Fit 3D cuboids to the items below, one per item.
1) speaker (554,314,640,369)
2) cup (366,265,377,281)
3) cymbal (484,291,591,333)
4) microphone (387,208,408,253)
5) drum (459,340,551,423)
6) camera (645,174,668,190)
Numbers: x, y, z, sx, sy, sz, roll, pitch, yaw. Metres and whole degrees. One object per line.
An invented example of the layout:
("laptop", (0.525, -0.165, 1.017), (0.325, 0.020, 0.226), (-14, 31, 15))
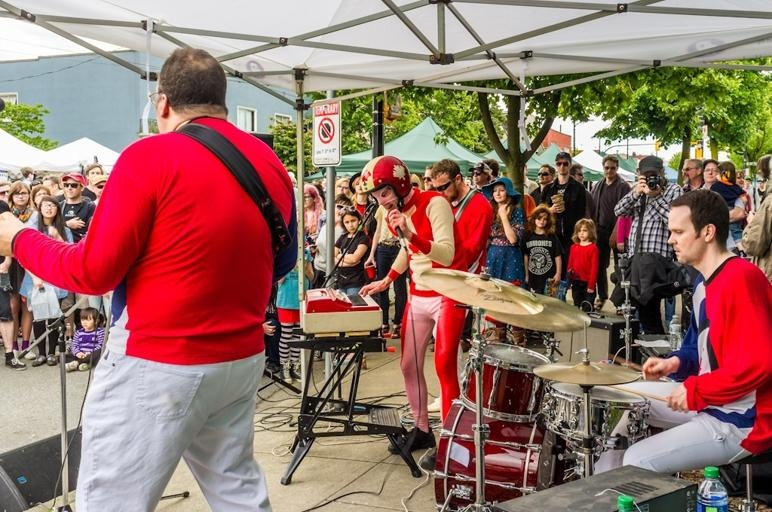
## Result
("speaker", (2.409, 0.936, 11.932), (0.593, 0.957, 0.980), (1, -3, -23))
("cup", (-0.182, 0.208, 13.609), (0.125, 0.151, 0.112), (-18, -39, 23))
("cymbal", (1.356, 0.568, 9.265), (0.963, 0.322, 0.743), (7, 4, -13))
("microphone", (0.128, -0.213, 9.717), (0.110, 0.431, 0.125), (-14, 9, 24))
("drum", (1.079, 1.118, 9.599), (0.700, 0.500, 0.703), (8, 14, -2))
("camera", (3.251, -0.886, 12.537), (0.137, 0.235, 0.220), (-5, 2, 11))
